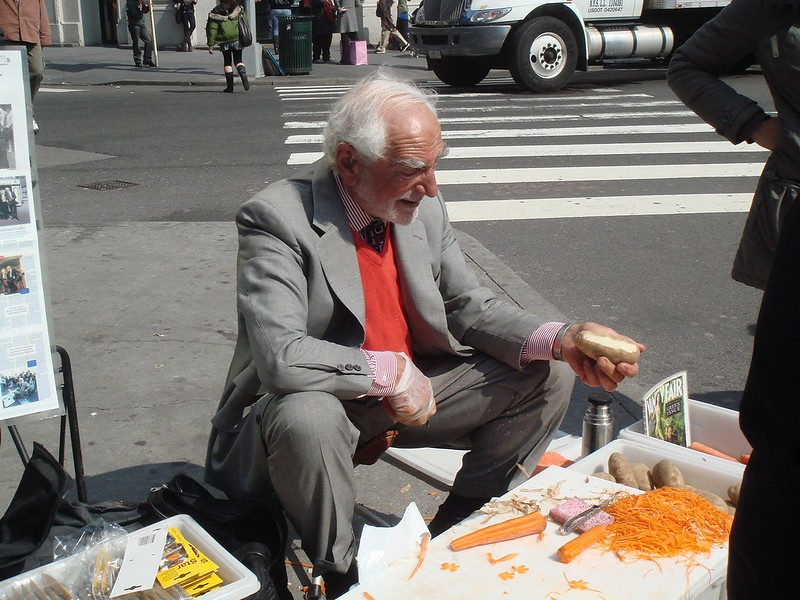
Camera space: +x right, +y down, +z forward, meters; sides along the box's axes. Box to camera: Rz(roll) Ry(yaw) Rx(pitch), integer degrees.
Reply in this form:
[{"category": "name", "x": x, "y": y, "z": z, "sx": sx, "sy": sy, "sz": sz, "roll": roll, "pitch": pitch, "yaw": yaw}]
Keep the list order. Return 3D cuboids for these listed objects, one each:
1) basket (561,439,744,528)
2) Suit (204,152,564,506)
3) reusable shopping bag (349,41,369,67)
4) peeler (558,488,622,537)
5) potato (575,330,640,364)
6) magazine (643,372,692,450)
[{"category": "basket", "x": 1.002, "y": 0.662, "z": 2.453, "sx": 0.423, "sy": 0.137, "sz": 0.339, "roll": 9, "pitch": 19, "yaw": 36}, {"category": "Suit", "x": -0.073, "y": 0.171, "z": 2.660, "sx": 1.407, "sy": 1.383, "sz": 1.221, "roll": -5, "pitch": 13, "yaw": -35}, {"category": "reusable shopping bag", "x": -1.319, "y": -7.744, "z": 19.966, "sx": 0.571, "sy": 0.725, "sz": 0.652, "roll": -2, "pitch": 18, "yaw": -5}, {"category": "peeler", "x": 0.604, "y": 0.709, "z": 2.100, "sx": 0.157, "sy": 0.021, "sz": 0.091, "roll": -14, "pitch": 16, "yaw": -38}, {"category": "potato", "x": 0.772, "y": 0.189, "z": 2.386, "sx": 0.203, "sy": 0.105, "sz": 0.076, "roll": 19, "pitch": 53, "yaw": 8}, {"category": "magazine", "x": 1.164, "y": 0.499, "z": 2.773, "sx": 0.248, "sy": 0.291, "sz": 0.030, "roll": -28, "pitch": 26, "yaw": -31}]
